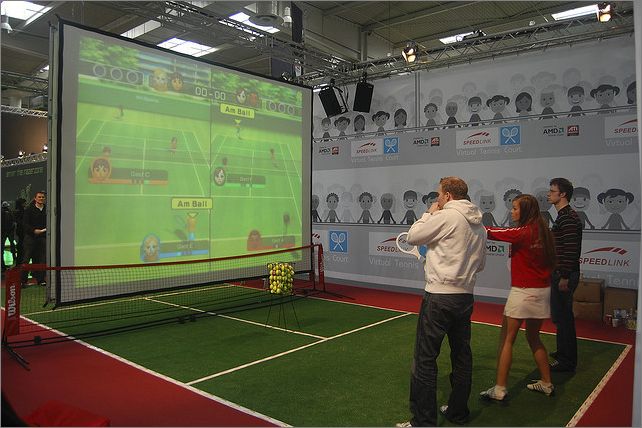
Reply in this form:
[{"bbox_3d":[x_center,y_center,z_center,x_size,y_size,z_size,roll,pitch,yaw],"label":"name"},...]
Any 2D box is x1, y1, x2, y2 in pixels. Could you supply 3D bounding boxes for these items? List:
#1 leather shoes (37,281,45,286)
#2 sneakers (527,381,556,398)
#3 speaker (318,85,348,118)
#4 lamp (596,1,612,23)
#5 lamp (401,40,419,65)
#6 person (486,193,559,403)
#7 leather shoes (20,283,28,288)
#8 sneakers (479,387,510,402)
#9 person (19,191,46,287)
[{"bbox_3d":[-7.369,1.823,11.216,0.170,0.091,0.327,-6,10,-37],"label":"leather shoes"},{"bbox_3d":[3.015,2.400,5.997,0.153,0.190,0.423,-6,3,-27],"label":"sneakers"},{"bbox_3d":[0.311,-3.206,11.939,0.609,0.844,0.647,-7,10,-43],"label":"speaker"},{"bbox_3d":[5.614,-4.083,8.506,0.257,0.379,0.263,5,9,34],"label":"lamp"},{"bbox_3d":[2.149,-3.996,10.468,0.376,0.464,0.562,1,8,10],"label":"lamp"},{"bbox_3d":[2.657,1.138,5.683,0.993,2.783,0.420,-2,8,-16],"label":"person"},{"bbox_3d":[-7.624,1.826,10.964,0.118,0.138,0.117,-14,-16,31],"label":"leather shoes"},{"bbox_3d":[2.310,2.420,5.783,0.179,0.186,0.368,5,-5,-36],"label":"sneakers"},{"bbox_3d":[-7.753,0.423,11.516,0.596,1.957,0.719,-5,9,-34],"label":"person"}]
